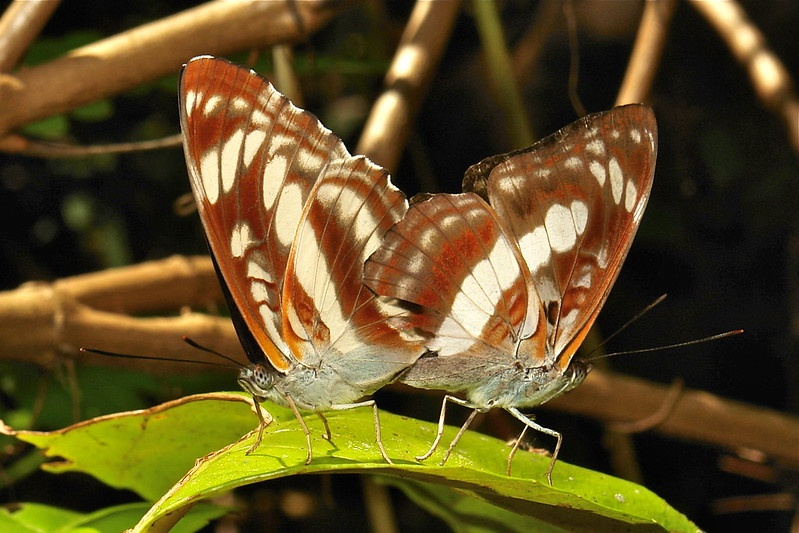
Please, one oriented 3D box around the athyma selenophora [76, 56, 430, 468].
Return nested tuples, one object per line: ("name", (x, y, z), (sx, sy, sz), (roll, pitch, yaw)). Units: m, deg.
("athyma selenophora", (-0.512, 0.032, 4.037), (1.445, 1.182, 1.549), (-2, 90, 4))
